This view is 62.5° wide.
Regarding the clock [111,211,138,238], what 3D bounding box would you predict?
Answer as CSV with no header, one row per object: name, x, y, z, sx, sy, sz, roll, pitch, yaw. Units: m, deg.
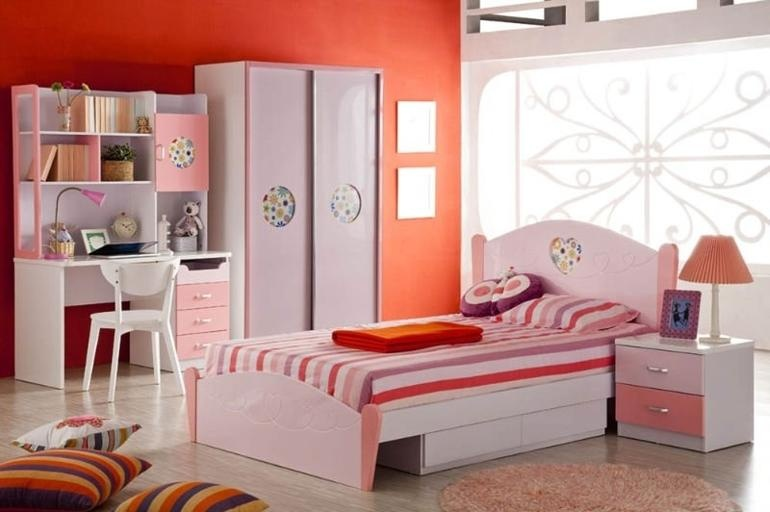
clock,-2.260,-0.260,5.479,0.237,0.244,0.088,0,-3,-33

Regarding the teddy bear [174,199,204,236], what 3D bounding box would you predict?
teddy bear,-1.753,-0.334,5.680,0.319,0.361,0.221,3,-1,16

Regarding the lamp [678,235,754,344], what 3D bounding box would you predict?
lamp,1.983,0.195,3.816,0.334,0.631,0.265,-3,4,-26

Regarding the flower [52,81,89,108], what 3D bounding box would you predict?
flower,-2.565,-1.315,5.137,0.285,0.279,0.281,-1,1,-18

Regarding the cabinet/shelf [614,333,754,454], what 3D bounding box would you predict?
cabinet/shelf,1.822,0.738,3.974,0.636,0.679,0.739,0,-1,-37

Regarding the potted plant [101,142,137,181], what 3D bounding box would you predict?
potted plant,-2.201,-0.756,5.242,0.300,0.282,0.298,0,-1,-27

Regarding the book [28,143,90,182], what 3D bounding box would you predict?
book,-2.617,-0.651,5.113,0.319,0.402,0.425,-1,1,-38

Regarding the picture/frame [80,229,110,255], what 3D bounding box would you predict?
picture/frame,-2.446,-0.113,5.319,0.208,0.179,0.014,9,-22,-42

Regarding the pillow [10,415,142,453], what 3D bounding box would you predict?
pillow,-1.664,0.960,3.427,0.489,0.185,0.420,1,4,28

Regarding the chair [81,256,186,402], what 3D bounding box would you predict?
chair,-1.935,0.514,4.874,0.714,0.977,0.869,-2,4,-18

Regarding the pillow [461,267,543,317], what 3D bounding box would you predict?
pillow,0.847,0.204,4.856,0.427,0.104,0.417,-19,8,11

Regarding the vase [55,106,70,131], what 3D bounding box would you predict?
vase,-2.566,-1.103,5.079,0.086,0.220,0.192,-3,4,-24

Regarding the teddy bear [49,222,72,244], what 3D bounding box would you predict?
teddy bear,-2.624,-0.187,5.111,0.183,0.147,0.125,-2,4,-11

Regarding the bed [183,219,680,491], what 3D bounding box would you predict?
bed,0.365,0.463,4.032,2.834,1.322,1.525,-4,4,-36

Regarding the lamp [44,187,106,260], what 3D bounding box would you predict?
lamp,-2.521,-0.283,5.149,0.426,0.573,0.441,-3,4,-28

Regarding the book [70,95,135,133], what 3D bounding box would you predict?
book,-2.300,-1.148,5.176,0.484,0.316,0.213,-3,4,-24
